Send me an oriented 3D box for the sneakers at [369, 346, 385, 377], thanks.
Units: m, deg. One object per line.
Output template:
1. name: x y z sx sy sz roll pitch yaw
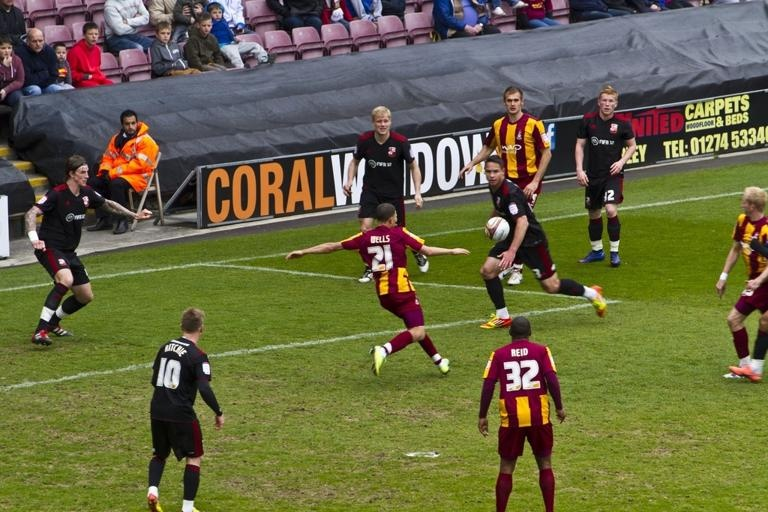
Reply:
1. sneakers: -0.092 1.228 15.160 0.169 0.353 0.295 -10 12 -16

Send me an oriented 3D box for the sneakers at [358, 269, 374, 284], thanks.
1. sneakers: -0.285 0.299 19.359 0.158 0.180 0.448 1 2 25

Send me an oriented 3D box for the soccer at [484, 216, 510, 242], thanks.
1. soccer: 1.468 -0.345 16.636 0.240 0.327 0.293 -11 12 -24

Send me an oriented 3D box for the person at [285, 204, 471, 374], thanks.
1. person: 0.191 0.410 15.498 1.304 2.062 0.813 -12 13 -27

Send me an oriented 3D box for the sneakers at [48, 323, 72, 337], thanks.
1. sneakers: -4.355 0.995 16.978 0.365 0.106 0.232 -1 -28 -21

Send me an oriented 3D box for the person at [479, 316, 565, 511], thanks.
1. person: 1.386 1.617 12.860 0.854 1.932 0.613 -5 12 6

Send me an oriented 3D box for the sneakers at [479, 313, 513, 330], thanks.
1. sneakers: 1.575 0.864 17.049 0.618 0.222 0.193 1 6 3

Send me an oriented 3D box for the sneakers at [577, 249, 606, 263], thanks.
1. sneakers: 3.231 0.012 20.017 0.497 0.178 0.155 -5 3 -7

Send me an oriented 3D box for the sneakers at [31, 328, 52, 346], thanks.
1. sneakers: -4.545 1.041 16.761 0.246 0.222 0.345 -9 11 -16

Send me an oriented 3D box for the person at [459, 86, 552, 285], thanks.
1. person: 1.853 -1.078 18.867 1.317 2.709 1.045 6 9 43

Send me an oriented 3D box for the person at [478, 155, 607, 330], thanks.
1. person: 1.839 -0.197 16.735 1.296 2.317 0.861 -12 13 -28

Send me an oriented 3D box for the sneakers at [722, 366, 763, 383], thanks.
1. sneakers: 4.325 1.400 15.327 0.458 0.165 0.155 7 -1 6
